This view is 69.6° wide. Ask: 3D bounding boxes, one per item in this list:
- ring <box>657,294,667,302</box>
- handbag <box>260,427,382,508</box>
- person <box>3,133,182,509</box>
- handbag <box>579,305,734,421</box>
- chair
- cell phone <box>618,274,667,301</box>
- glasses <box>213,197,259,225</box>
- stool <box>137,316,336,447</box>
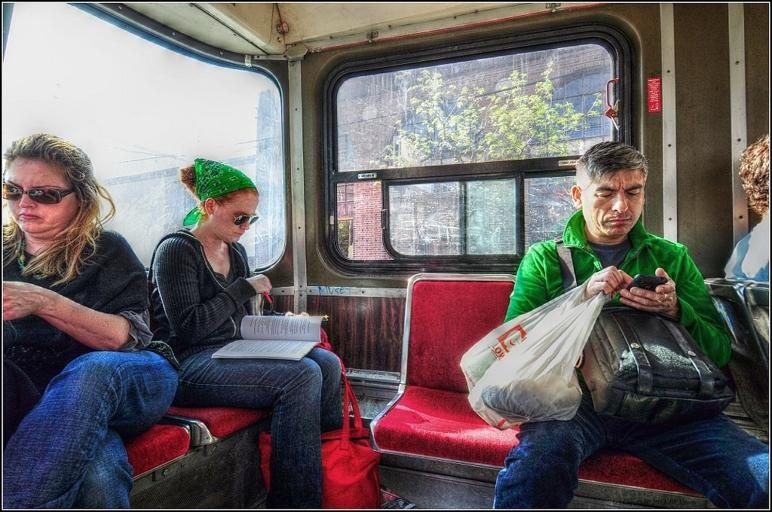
[{"bbox_3d":[1.418,0.217,2.853,0.034,0.036,0.009,-17,35,39],"label":"ring"},{"bbox_3d":[-0.335,1.215,3.199,0.403,0.608,0.624,5,-20,-23],"label":"handbag"},{"bbox_3d":[-1.446,0.286,2.669,0.740,1.772,0.648,-4,6,-22],"label":"person"},{"bbox_3d":[1.281,0.460,2.744,0.605,0.248,0.570,5,46,-11],"label":"handbag"},{"bbox_3d":[1.029,0.720,2.922,1.394,0.882,0.669,1,-8,19],"label":"chair"},{"bbox_3d":[1.322,0.141,2.823,0.193,0.096,0.099,1,6,22],"label":"cell phone"},{"bbox_3d":[-0.899,-0.283,3.336,0.187,0.060,0.178,14,-4,26],"label":"glasses"},{"bbox_3d":[-0.841,0.717,3.039,0.865,0.621,0.590,-3,8,36],"label":"stool"}]
